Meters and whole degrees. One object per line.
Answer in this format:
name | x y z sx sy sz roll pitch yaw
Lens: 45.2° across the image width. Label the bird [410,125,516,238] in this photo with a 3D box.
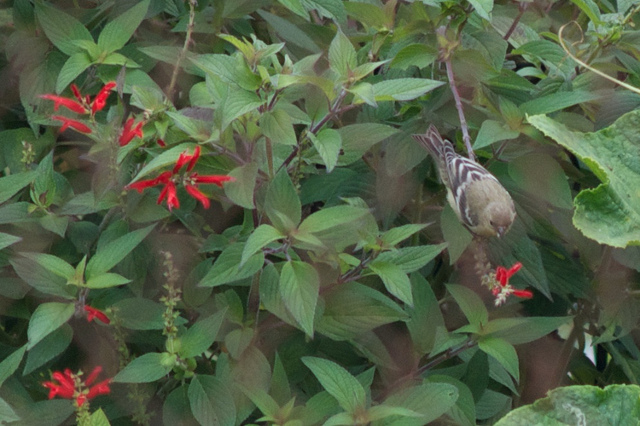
bird | 0.628 -0.123 3.481 0.527 0.406 0.334 18 18 13
